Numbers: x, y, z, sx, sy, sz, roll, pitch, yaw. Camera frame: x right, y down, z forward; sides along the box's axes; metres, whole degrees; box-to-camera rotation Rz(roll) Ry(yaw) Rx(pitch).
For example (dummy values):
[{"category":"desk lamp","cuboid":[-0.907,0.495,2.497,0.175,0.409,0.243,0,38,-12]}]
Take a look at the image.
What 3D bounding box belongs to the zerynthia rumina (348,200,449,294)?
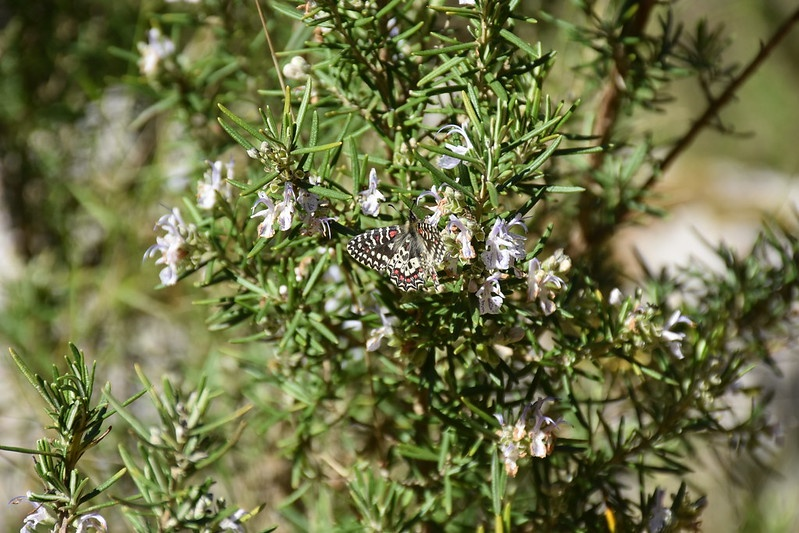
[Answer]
[{"category":"zerynthia rumina","cuboid":[0.003,-0.055,3.276,0.159,0.299,0.328,-29,100,-52]}]
